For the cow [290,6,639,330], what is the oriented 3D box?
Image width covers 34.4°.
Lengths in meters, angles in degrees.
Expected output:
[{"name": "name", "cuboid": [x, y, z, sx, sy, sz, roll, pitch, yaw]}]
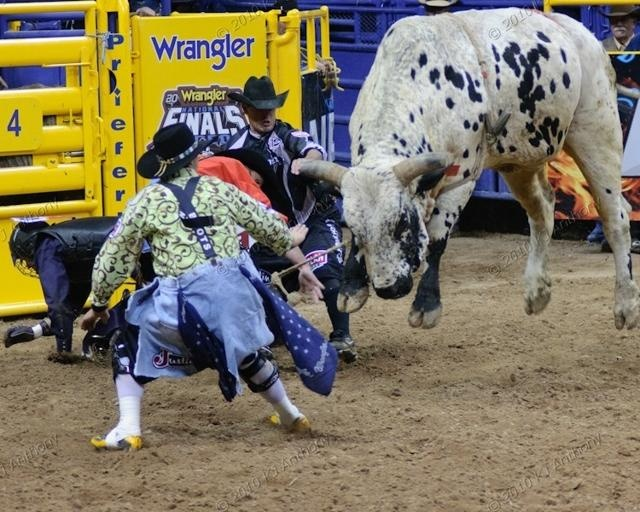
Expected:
[{"name": "cow", "cuboid": [1.126, -0.479, 7.121, 2.750, 2.328, 0.983, -14, 18, -42]}]

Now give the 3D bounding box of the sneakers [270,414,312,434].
[{"name": "sneakers", "cuboid": [-0.191, 0.977, 6.241, 0.250, 0.101, 0.095, 11, 9, 25]}]

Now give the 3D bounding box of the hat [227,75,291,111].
[{"name": "hat", "cuboid": [-0.489, -1.196, 7.713, 0.535, 0.240, 0.609, -4, 4, -7]}]

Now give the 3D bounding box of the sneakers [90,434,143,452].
[{"name": "sneakers", "cuboid": [-1.157, 1.059, 5.981, 0.295, 0.119, 0.104, 4, -3, 14]}]

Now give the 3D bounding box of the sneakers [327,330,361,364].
[{"name": "sneakers", "cuboid": [0.159, 0.648, 7.234, 0.188, 0.248, 0.303, -2, 13, 0]}]

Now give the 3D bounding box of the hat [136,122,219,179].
[{"name": "hat", "cuboid": [-0.821, -0.524, 5.881, 0.356, 0.135, 0.309, -41, 45, -9]}]

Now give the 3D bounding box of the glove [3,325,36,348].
[{"name": "glove", "cuboid": [-2.171, 0.572, 7.470, 0.258, 0.107, 0.125, 0, -30, 2]}]

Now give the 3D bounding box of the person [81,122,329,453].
[{"name": "person", "cuboid": [-0.662, 0.186, 5.881, 1.359, 1.806, 0.493, -2, 14, -1]}]
